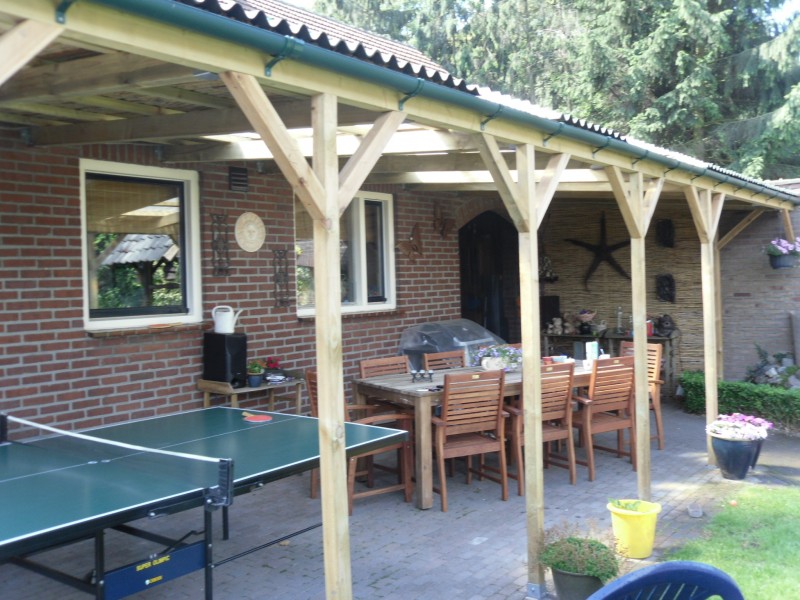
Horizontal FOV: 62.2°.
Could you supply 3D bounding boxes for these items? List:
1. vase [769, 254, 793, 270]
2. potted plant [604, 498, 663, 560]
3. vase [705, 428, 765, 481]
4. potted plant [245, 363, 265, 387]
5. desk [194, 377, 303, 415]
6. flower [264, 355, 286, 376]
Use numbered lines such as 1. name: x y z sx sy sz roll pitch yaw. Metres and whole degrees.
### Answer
1. vase: 5.709 -0.576 9.907 0.248 0.155 0.236 3 4 23
2. potted plant: 1.751 1.759 5.058 0.491 0.371 0.467 -1 -1 -19
3. vase: 3.553 1.626 6.968 0.512 0.354 0.492 2 3 19
4. potted plant: -1.519 0.787 7.020 0.244 0.213 0.216 0 -6 -5
5. desk: -1.635 0.998 6.974 0.308 0.323 0.608 2 3 38
6. flower: -1.385 0.725 7.328 0.210 0.167 0.193 1 -2 -5
